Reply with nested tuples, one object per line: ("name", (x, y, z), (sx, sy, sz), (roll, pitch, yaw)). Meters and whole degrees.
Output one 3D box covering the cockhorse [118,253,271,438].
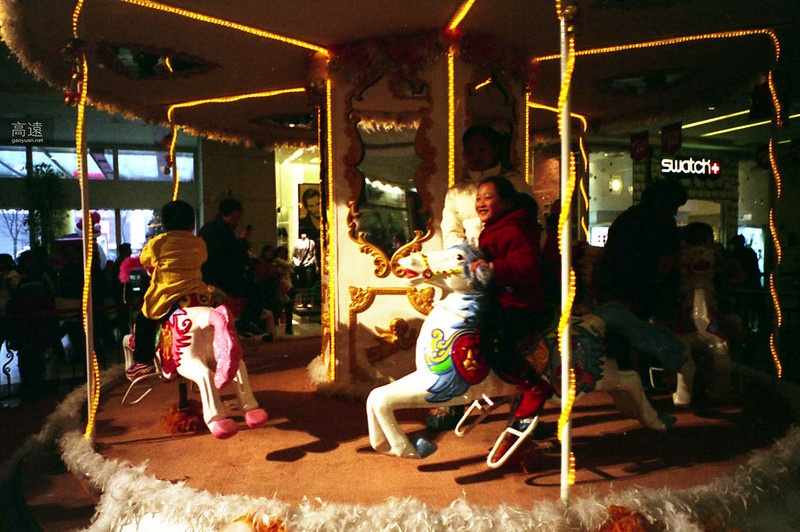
("cockhorse", (-2.259, 0.720, 7.049), (1.069, 1.903, 2.567), (-7, -3, -40))
